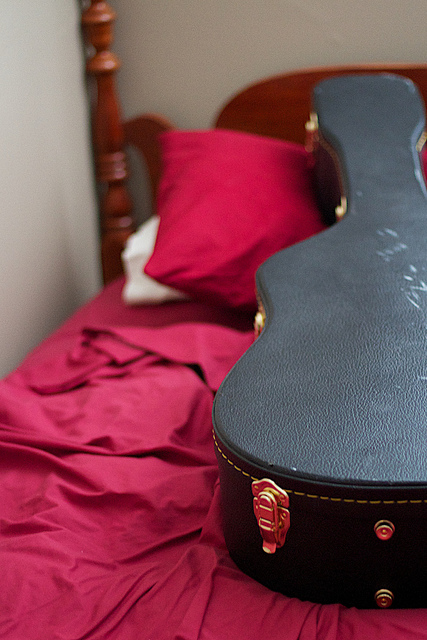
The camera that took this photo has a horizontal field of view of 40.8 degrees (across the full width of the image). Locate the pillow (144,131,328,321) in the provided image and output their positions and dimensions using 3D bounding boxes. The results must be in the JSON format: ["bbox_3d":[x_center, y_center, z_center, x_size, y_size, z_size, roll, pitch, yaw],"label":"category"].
[{"bbox_3d":[0.059,-0.231,1.375,0.448,0.138,0.448,6,65,22],"label":"pillow"}]

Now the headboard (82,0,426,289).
[{"bbox_3d":[0.114,-0.622,1.991,0.999,0.809,0.770,-4,70,7],"label":"headboard"}]
